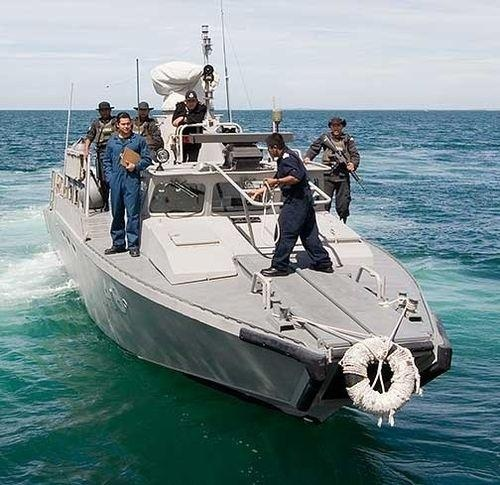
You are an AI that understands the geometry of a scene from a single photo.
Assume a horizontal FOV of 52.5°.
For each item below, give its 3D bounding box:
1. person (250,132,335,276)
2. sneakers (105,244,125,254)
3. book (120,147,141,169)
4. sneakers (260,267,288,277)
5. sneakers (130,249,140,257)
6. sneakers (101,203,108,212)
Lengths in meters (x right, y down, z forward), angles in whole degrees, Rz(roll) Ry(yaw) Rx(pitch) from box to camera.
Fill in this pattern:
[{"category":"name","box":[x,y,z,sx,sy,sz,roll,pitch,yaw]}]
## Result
[{"category":"person","box":[0.456,-0.386,5.286,0.806,1.493,0.569,3,13,15]},{"category":"sneakers","box":[-1.736,0.088,6.498,0.291,0.097,0.094,-3,15,-27]},{"category":"book","box":[-1.436,-1.014,6.045,0.283,0.217,0.067,19,-2,-25]},{"category":"sneakers","box":[0.248,0.318,5.350,0.314,0.089,0.099,6,5,-13]},{"category":"sneakers","box":[-1.440,0.125,6.290,0.100,0.106,0.036,2,-35,-14]},{"category":"sneakers","box":[-2.282,-0.542,7.891,0.134,0.132,0.055,3,-3,3]}]
